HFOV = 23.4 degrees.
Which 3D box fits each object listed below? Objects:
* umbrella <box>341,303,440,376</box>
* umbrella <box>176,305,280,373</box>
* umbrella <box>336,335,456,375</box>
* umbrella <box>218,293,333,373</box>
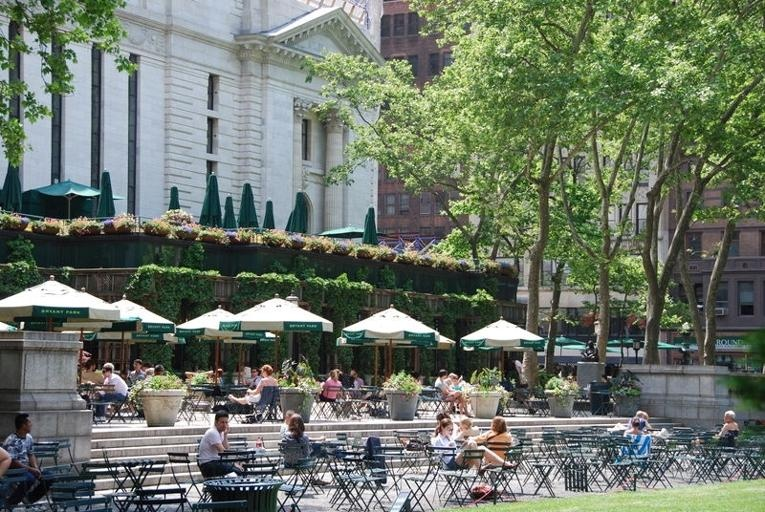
[{"bbox_3d":[0.377,3.977,79.845,5.117,3.977,4.931,-3,-4,35],"label":"umbrella"},{"bbox_3d":[-6.957,3.703,82.010,3.123,2.297,3.276,-5,-8,34],"label":"umbrella"},{"bbox_3d":[0.326,4.858,88.188,2.611,1.295,2.500,-6,-10,40],"label":"umbrella"},{"bbox_3d":[-4.329,2.890,77.627,5.543,2.232,5.058,-1,-2,-9],"label":"umbrella"}]
